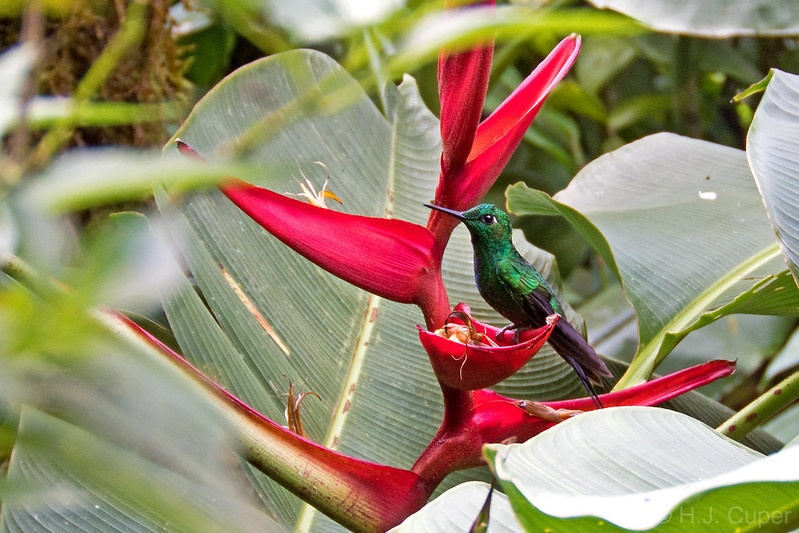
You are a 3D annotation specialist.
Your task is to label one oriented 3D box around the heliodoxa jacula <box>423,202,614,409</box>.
[{"bbox_3d":[0.115,0.002,0.791,0.148,0.162,0.170,12,32,19],"label":"heliodoxa jacula"}]
